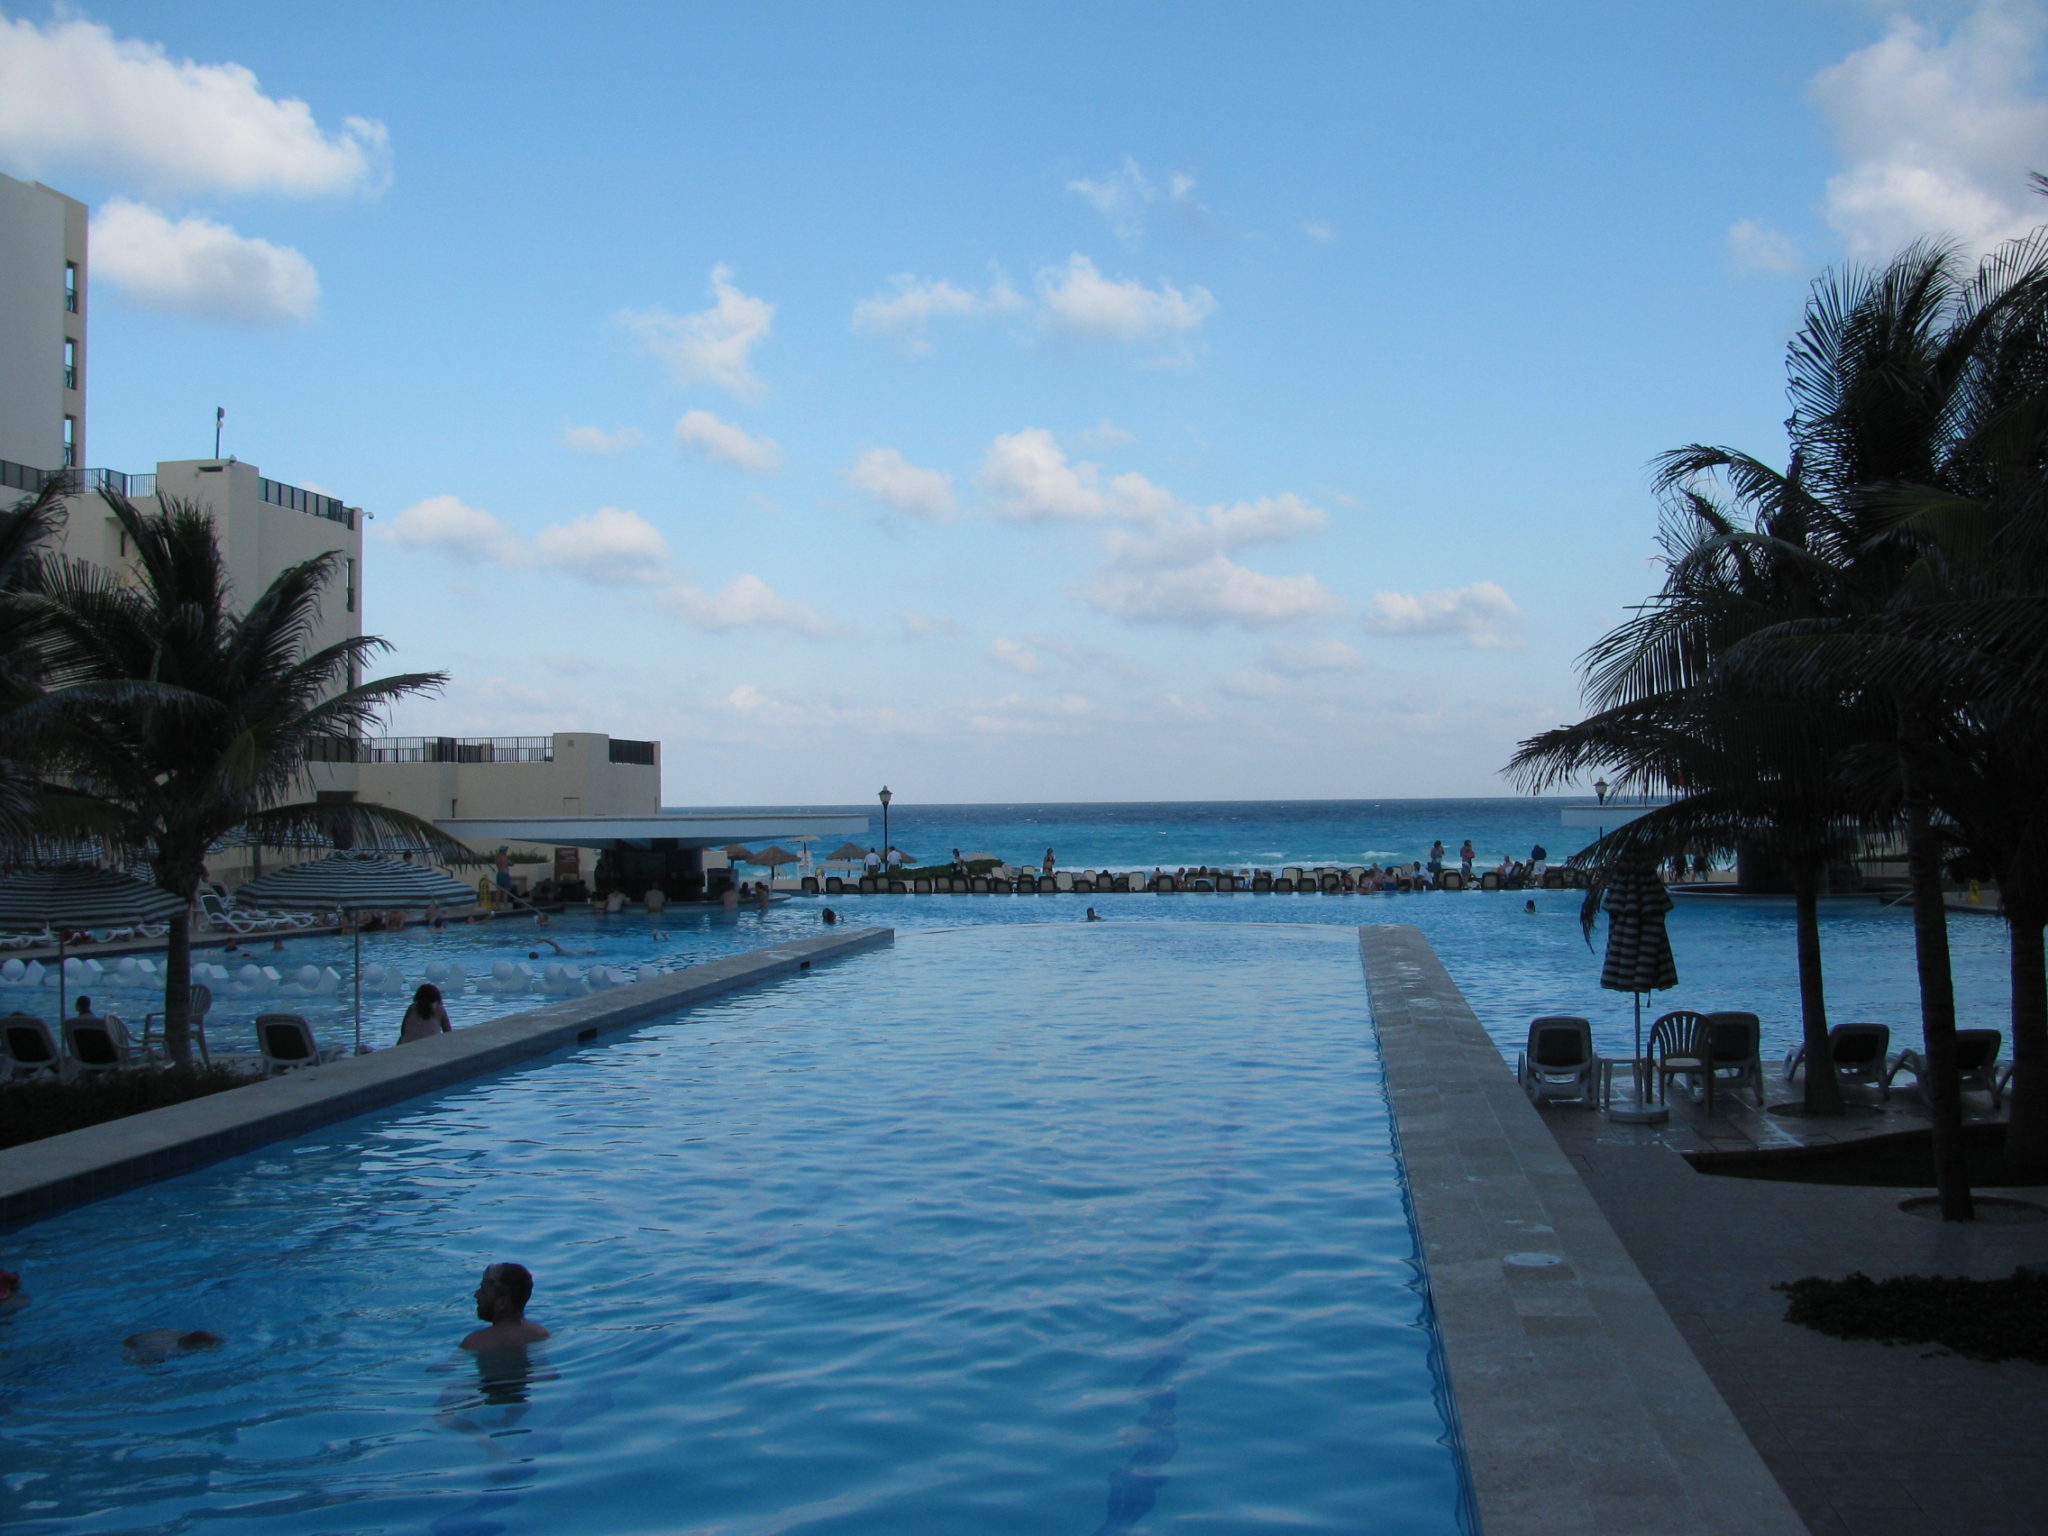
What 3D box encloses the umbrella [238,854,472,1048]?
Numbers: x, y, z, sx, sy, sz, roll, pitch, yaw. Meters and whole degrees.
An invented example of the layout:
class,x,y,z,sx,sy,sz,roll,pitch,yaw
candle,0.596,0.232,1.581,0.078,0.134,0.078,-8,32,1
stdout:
class,x,y,z,sx,sy,sz,roll,pitch,yaw
umbrella,-9.478,2.677,23.746,2.828,2.794,2.747,0,-1,-5
